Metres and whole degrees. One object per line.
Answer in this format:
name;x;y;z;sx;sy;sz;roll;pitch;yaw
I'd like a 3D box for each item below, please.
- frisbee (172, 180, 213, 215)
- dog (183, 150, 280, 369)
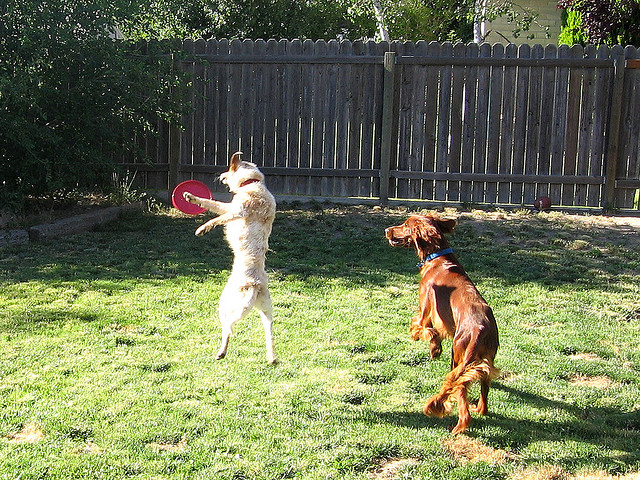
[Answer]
frisbee;-1.211;-0.388;6.262;0.334;0.323;0.637;-2;8;-12
dog;-0.747;0.217;6.095;0.688;2.018;0.399;-2;7;-13
